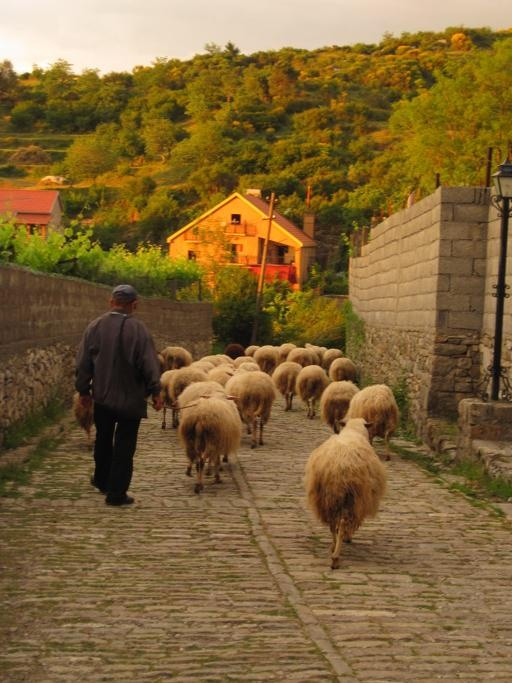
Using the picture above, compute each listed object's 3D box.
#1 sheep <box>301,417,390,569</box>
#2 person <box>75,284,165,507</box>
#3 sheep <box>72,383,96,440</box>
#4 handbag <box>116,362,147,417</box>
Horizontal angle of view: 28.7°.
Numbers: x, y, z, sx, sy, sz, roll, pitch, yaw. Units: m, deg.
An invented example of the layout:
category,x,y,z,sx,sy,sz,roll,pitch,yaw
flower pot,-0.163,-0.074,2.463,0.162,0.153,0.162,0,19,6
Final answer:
category,x,y,z,sx,sy,sz,roll,pitch,yaw
sheep,0.625,1.248,7.999,0.616,0.885,0.731,5,6,30
person,-1.302,0.499,9.344,0.763,2.015,0.513,7,7,41
sheep,-2.027,0.866,11.879,0.415,0.607,1.142,-1,-7,-3
handbag,-1.117,0.449,9.172,0.257,0.488,0.197,1,5,-13
